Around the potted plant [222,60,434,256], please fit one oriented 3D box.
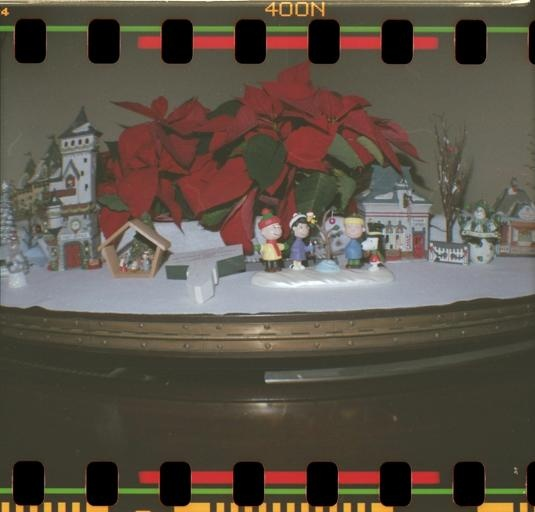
[{"bbox_3d":[0.226,-0.371,2.359,0.552,0.335,0.512,12,-18,-41],"label":"potted plant"}]
